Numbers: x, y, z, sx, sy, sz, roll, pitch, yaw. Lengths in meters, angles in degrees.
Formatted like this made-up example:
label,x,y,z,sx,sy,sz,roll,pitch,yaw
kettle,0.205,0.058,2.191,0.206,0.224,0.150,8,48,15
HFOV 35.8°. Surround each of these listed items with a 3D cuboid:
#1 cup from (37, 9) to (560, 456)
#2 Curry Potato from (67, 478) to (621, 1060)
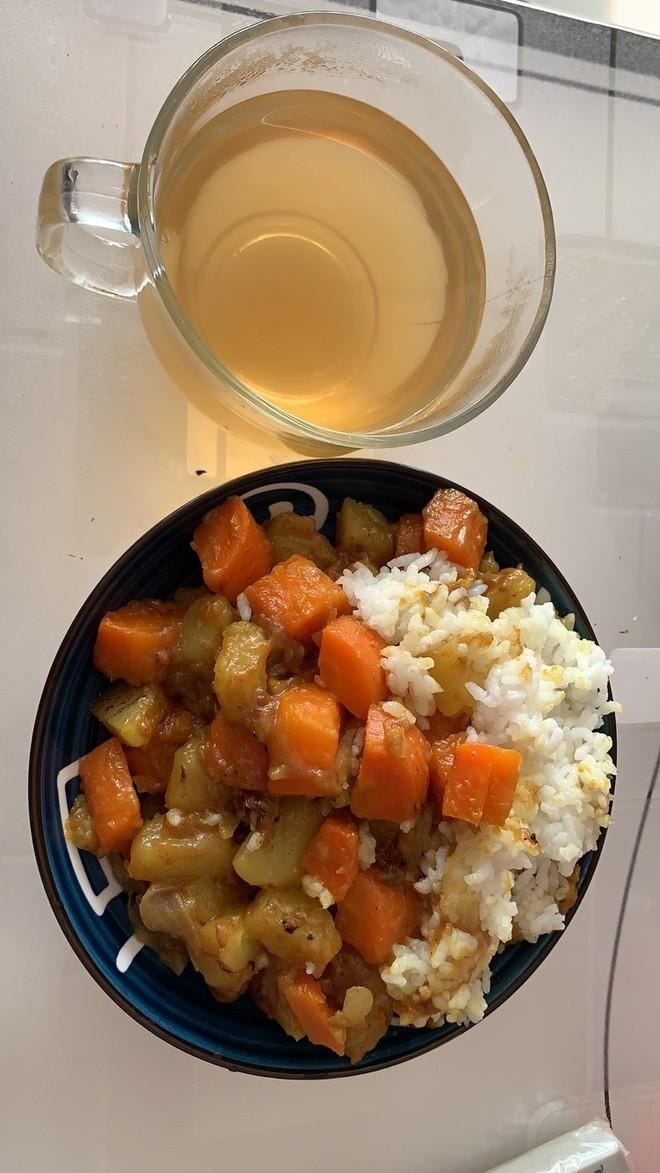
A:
label,x,y,z,sx,sy,sz,roll,pitch,yaw
cup,-0.040,-0.368,1.190,0.526,0.425,0.371,9,3,-15
Curry Potato,0.024,0.188,1.135,0.526,0.423,0.520,33,53,20
